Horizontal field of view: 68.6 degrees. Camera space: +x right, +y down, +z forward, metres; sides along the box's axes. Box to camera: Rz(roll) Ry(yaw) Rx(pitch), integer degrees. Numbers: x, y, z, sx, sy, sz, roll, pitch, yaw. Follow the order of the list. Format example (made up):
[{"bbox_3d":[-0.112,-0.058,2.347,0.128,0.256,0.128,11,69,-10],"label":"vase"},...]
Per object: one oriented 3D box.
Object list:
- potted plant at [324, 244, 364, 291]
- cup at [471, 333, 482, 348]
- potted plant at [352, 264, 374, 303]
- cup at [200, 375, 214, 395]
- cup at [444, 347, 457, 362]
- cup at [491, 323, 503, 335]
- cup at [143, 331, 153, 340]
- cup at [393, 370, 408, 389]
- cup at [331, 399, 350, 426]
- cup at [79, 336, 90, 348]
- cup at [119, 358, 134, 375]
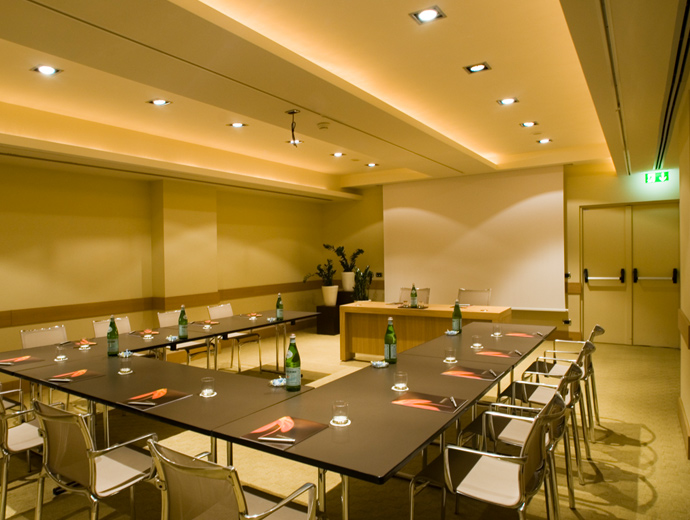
[{"bbox_3d":[0.030,0.157,10.548,1.044,1.091,0.859,0,-9,-2],"label":"potted plant"},{"bbox_3d":[1.229,0.757,4.746,0.108,0.105,0.102,0,0,0],"label":"cup"},{"bbox_3d":[0.339,0.477,10.273,0.598,0.922,0.537,2,-7,-1],"label":"potted plant"},{"bbox_3d":[-0.999,0.917,3.694,0.111,0.111,0.103,0,-3,0],"label":"cup"},{"bbox_3d":[0.879,0.808,4.306,0.106,0.092,0.094,-4,3,-41],"label":"cup"},{"bbox_3d":[1.599,0.733,5.344,0.104,0.105,0.098,1,-3,0],"label":"cup"},{"bbox_3d":[-2.124,0.815,5.490,0.077,0.078,0.082,1,2,0],"label":"cup"},{"bbox_3d":[0.404,0.885,3.746,0.116,0.109,0.106,0,-1,0],"label":"cup"},{"bbox_3d":[-0.034,0.976,3.251,0.133,0.130,0.128,0,-2,0],"label":"cup"},{"bbox_3d":[-2.578,0.812,5.028,0.098,0.115,0.113,0,-1,-9],"label":"cup"},{"bbox_3d":[-1.806,0.879,4.193,0.123,0.127,0.129,1,0,0],"label":"cup"}]
